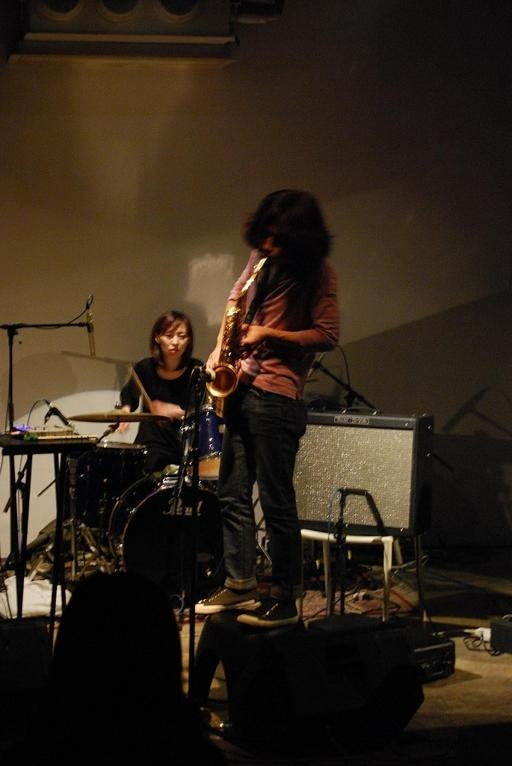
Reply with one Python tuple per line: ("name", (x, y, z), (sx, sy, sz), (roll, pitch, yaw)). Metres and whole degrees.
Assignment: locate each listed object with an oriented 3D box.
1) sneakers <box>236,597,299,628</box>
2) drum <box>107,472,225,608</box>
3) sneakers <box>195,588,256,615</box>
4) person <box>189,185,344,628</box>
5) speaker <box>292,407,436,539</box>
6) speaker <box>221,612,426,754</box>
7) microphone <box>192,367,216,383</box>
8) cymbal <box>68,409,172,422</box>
("sneakers", (0.032, 0.687, 2.188), (0.201, 0.073, 0.071), (10, -17, -29))
("drum", (-0.321, 0.692, 3.366), (0.543, 0.514, 0.317), (3, 3, 7))
("sneakers", (-0.091, 0.689, 2.339), (0.238, 0.091, 0.076), (0, -12, -4))
("person", (0.025, 0.041, 2.389), (0.396, 1.385, 0.337), (4, -8, -39))
("speaker", (0.411, 0.359, 2.876), (0.571, 0.498, 0.198), (0, -9, 26))
("speaker", (0.179, 0.782, 1.888), (0.398, 0.248, 0.345), (6, -20, -24))
("microphone", (-0.158, -0.023, 2.139), (0.046, 0.042, 0.104), (-4, -7, 28))
("cymbal", (-0.622, 0.149, 3.423), (0.402, 0.064, 0.294), (-2, -6, 6))
